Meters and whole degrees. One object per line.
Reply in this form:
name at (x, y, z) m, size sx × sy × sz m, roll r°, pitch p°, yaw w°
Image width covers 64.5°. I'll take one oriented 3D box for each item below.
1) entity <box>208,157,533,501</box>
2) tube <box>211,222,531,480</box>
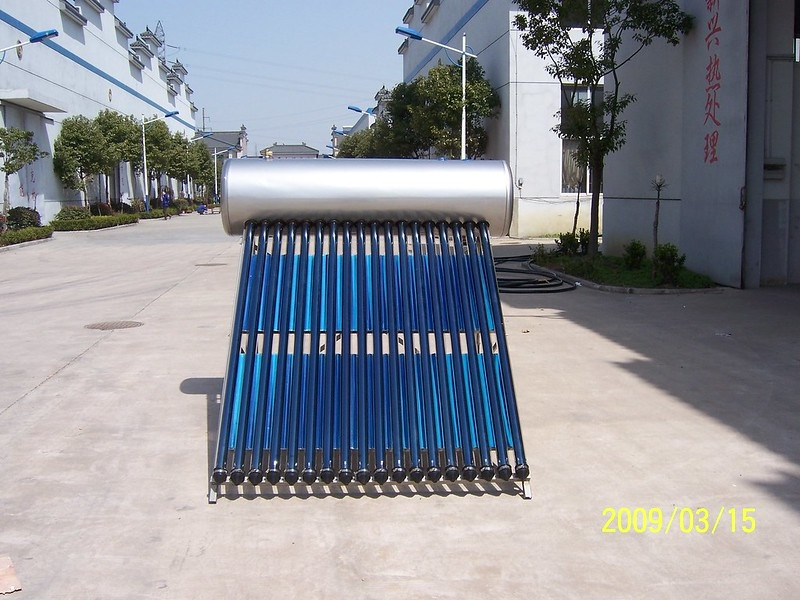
entity at (-0.186, 0.394, 5.190) m, size 2.085 × 2.407 × 0.910 m, roll 1°, pitch -26°, yaw -1°
tube at (-0.216, 0.515, 4.917) m, size 1.726 × 1.888 × 0.462 m, roll -1°, pitch -24°, yaw -3°
